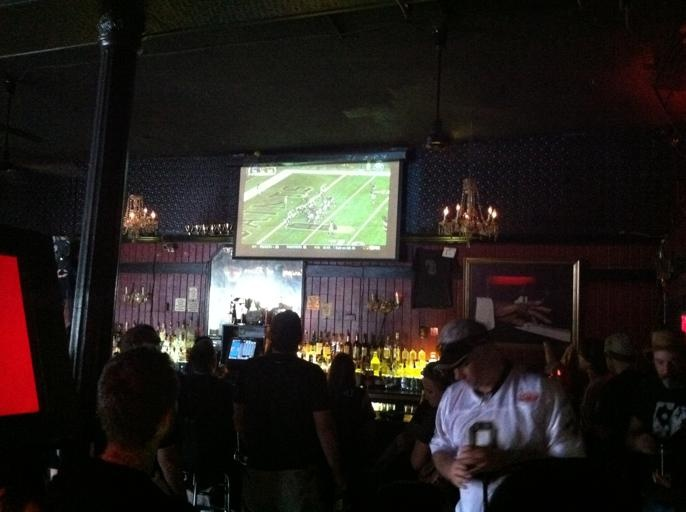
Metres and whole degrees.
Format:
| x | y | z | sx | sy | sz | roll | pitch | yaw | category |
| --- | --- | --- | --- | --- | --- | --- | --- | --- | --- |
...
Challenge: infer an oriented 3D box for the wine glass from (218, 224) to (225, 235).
| x | y | z | sx | sy | sz | roll | pitch | yaw | category |
| --- | --- | --- | --- | --- | --- | --- | --- | --- | --- |
| -1.553 | -0.334 | 7.573 | 0.095 | 0.178 | 0.228 | 3 | -7 | -12 | wine glass |

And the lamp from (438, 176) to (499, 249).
| x | y | z | sx | sy | sz | roll | pitch | yaw | category |
| --- | --- | --- | --- | --- | --- | --- | --- | --- | --- |
| 1.410 | -0.539 | 6.704 | 0.656 | 0.696 | 0.669 | -11 | 17 | -30 | lamp |

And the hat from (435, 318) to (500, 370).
| x | y | z | sx | sy | sz | roll | pitch | yaw | category |
| --- | --- | --- | --- | --- | --- | --- | --- | --- | --- |
| 0.596 | 0.419 | 2.872 | 0.259 | 0.139 | 0.184 | -17 | -12 | -45 | hat |

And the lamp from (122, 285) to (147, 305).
| x | y | z | sx | sy | sz | roll | pitch | yaw | category |
| --- | --- | --- | --- | --- | --- | --- | --- | --- | --- |
| -2.964 | 0.555 | 8.484 | 0.323 | 0.190 | 0.317 | 2 | 2 | 23 | lamp |

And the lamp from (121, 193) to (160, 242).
| x | y | z | sx | sy | sz | roll | pitch | yaw | category |
| --- | --- | --- | --- | --- | --- | --- | --- | --- | --- |
| -2.564 | -0.518 | 7.533 | 0.399 | 0.625 | 1.126 | 4 | -7 | -20 | lamp |

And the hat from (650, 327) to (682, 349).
| x | y | z | sx | sy | sz | roll | pitch | yaw | category |
| --- | --- | --- | --- | --- | --- | --- | --- | --- | --- |
| 2.131 | 0.524 | 3.918 | 0.215 | 0.091 | 0.245 | -9 | -22 | 38 | hat |

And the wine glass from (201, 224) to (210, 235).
| x | y | z | sx | sy | sz | roll | pitch | yaw | category |
| --- | --- | --- | --- | --- | --- | --- | --- | --- | --- |
| -1.786 | -0.342 | 7.660 | 0.044 | 0.046 | 0.147 | -25 | 6 | 11 | wine glass |

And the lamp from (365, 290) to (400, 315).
| x | y | z | sx | sy | sz | roll | pitch | yaw | category |
| --- | --- | --- | --- | --- | --- | --- | --- | --- | --- |
| 0.508 | 0.587 | 7.526 | 0.424 | 0.301 | 0.355 | 1 | -6 | 2 | lamp |

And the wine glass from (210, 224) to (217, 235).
| x | y | z | sx | sy | sz | roll | pitch | yaw | category |
| --- | --- | --- | --- | --- | --- | --- | --- | --- | --- |
| -1.672 | -0.338 | 7.611 | 0.059 | 0.159 | 0.255 | 3 | -7 | -14 | wine glass |
